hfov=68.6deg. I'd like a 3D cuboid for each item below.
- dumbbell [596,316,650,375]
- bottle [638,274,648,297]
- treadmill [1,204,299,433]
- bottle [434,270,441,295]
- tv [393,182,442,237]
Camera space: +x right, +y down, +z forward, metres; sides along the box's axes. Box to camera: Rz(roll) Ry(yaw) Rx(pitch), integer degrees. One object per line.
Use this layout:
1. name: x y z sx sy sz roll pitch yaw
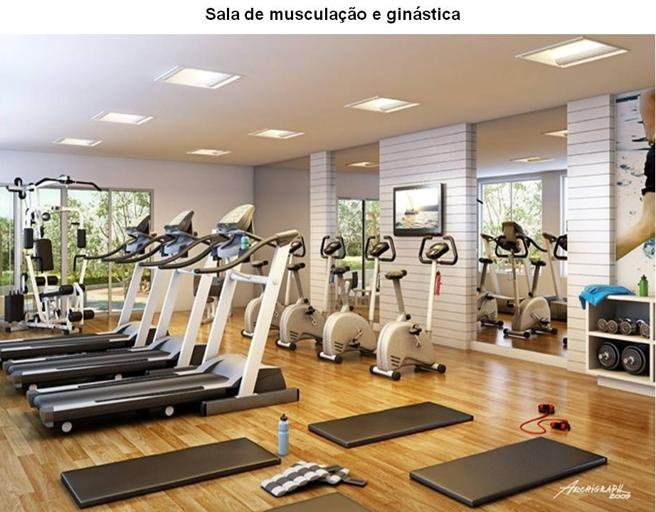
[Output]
1. dumbbell: 3.063 0.930 4.996 0.333 0.550 0.518 -3 4 -43
2. bottle: 3.242 0.313 4.950 0.067 0.198 0.226 2 3 31
3. treadmill: -1.816 0.646 5.106 2.623 2.011 3.447 0 4 -35
4. bottle: 1.291 0.326 5.676 0.053 0.279 0.408 1 3 17
5. tv: 1.419 -0.716 7.639 0.156 0.815 0.976 -3 4 -36
